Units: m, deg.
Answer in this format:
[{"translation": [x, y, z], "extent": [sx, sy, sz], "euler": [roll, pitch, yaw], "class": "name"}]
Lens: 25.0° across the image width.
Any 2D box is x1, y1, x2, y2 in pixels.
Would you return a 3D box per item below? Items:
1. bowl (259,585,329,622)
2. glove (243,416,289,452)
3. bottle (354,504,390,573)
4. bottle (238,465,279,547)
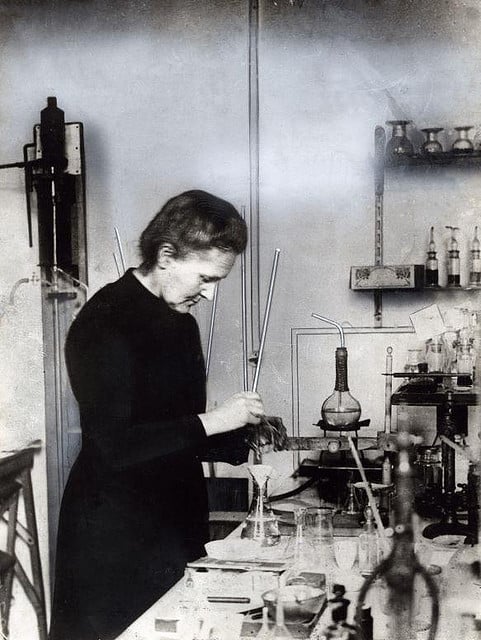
[{"translation": [0.141, 0.709, 2.734], "extent": [0.175, 0.070, 0.138], "euler": [-2, 6, -5], "class": "bowl"}, {"translation": [0.075, 0.308, 2.949], "extent": [0.093, 0.046, 0.098], "euler": [-4, 1, 25], "class": "glove"}, {"translation": [0.343, 0.581, 2.863], "extent": [0.089, 0.168, 0.048], "euler": [-4, 6, -26], "class": "bottle"}, {"translation": [0.055, 0.497, 2.920], "extent": [0.103, 0.204, 0.090], "euler": [-1, 6, 8], "class": "bottle"}]
